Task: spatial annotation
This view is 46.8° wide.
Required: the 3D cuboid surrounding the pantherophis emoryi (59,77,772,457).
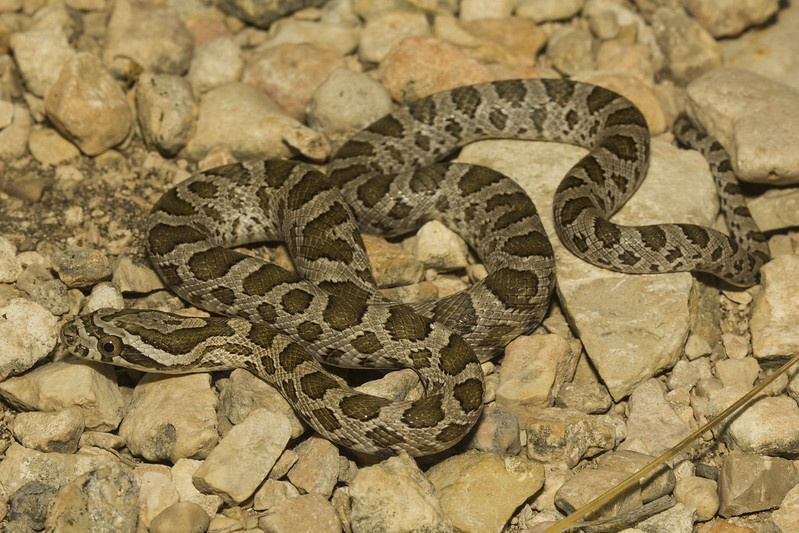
[{"bbox_3d":[0.156,-0.027,12.193,7.707,2.356,5.072,-31,84,-4],"label":"pantherophis emoryi"}]
